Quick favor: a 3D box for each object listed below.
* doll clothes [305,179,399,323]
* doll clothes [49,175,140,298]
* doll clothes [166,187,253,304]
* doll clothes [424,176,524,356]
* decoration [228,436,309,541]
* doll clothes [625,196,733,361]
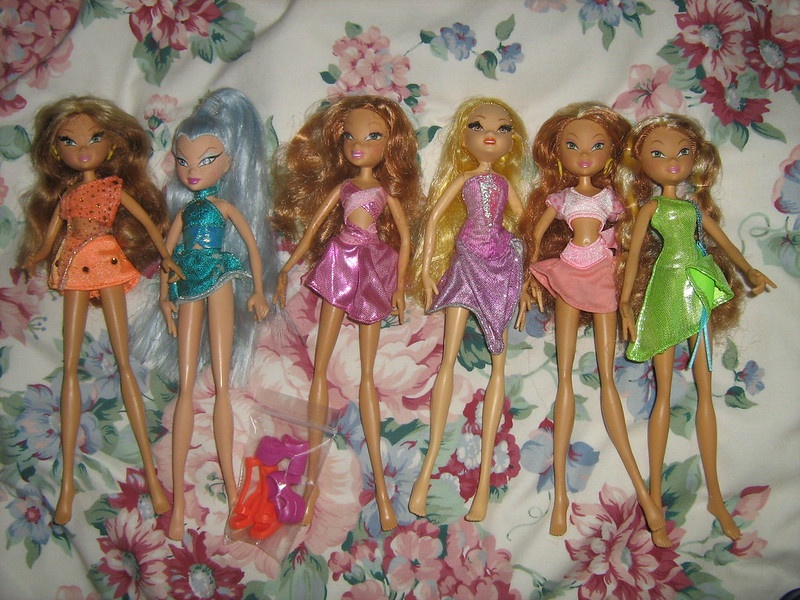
[{"bbox_3d":[-0.249,-0.279,4.054,0.556,0.798,0.499,13,3,-22],"label":"doll clothes"},{"bbox_3d":[-1.708,-0.353,4.060,0.512,0.686,0.340,-4,-24,-6],"label":"doll clothes"},{"bbox_3d":[-1.054,-0.295,4.053,0.556,0.803,0.351,-1,-10,-5],"label":"doll clothes"},{"bbox_3d":[0.460,-0.159,4.027,0.501,0.983,0.316,7,1,5],"label":"doll clothes"},{"bbox_3d":[-0.694,1.016,3.959,0.394,0.552,0.130,21,-12,-1],"label":"decoration"},{"bbox_3d":[1.505,-0.106,4.008,0.540,0.931,0.232,1,-12,-8],"label":"doll clothes"}]
